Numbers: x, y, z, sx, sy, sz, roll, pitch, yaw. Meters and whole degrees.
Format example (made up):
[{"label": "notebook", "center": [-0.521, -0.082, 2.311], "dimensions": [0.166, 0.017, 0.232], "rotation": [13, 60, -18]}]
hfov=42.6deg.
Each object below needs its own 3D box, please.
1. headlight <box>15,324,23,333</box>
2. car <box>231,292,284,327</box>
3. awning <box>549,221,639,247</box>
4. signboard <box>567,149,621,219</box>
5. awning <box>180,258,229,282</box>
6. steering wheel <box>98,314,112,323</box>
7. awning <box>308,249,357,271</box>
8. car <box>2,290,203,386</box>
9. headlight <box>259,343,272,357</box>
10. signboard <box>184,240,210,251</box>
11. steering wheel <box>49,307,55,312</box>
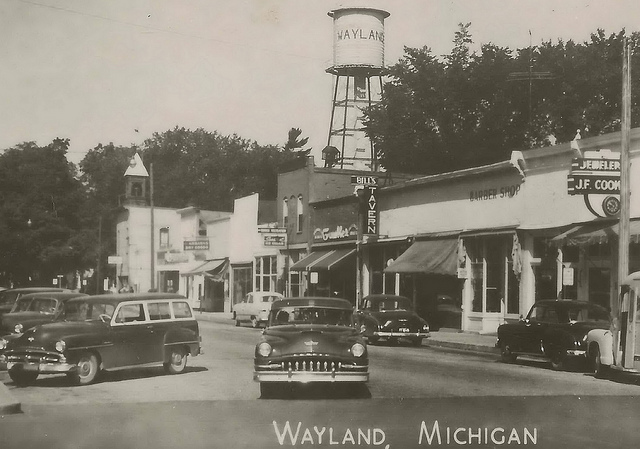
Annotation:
[{"label": "headlight", "center": [-9.324, 3.167, 25.250], "dimensions": [0.295, 0.214, 0.149], "rotation": [2, 3, 21]}, {"label": "car", "center": [-3.389, 4.560, 44.370], "dimensions": [2.085, 1.850, 4.535], "rotation": [1, 0, -23]}, {"label": "awning", "center": [10.157, 0.277, 30.605], "dimensions": [1.670, 0.779, 3.478], "rotation": [-2, -5, -44]}, {"label": "signboard", "center": [10.349, -1.561, 30.904], "dimensions": [1.873, 2.657, 1.099], "rotation": [1, 3, 7]}, {"label": "awning", "center": [-8.971, 3.501, 66.288], "dimensions": [2.082, 1.840, 3.782], "rotation": [-1, 3, -32]}, {"label": "steering wheel", "center": [-5.816, 2.506, 22.100], "dimensions": [0.412, 0.178, 0.178], "rotation": [1, 3, 6]}, {"label": "awning", "center": [0.665, 2.041, 49.015], "dimensions": [1.854, 1.348, 2.968], "rotation": [-1, 3, -23]}, {"label": "car", "center": [-5.971, 3.001, 22.536], "dimensions": [2.405, 1.799, 4.120], "rotation": [-7, -10, 42]}, {"label": "headlight", "center": [-1.261, 2.888, 18.986], "dimensions": [0.294, 0.276, 0.164], "rotation": [2, 3, 22]}, {"label": "signboard", "center": [-10.170, 1.645, 67.825], "dimensions": [0.699, 0.809, 2.244], "rotation": [3, 4, 42]}, {"label": "steering wheel", "center": [-8.880, 2.767, 27.127], "dimensions": [0.198, 0.114, 0.114], "rotation": [1, 3, 10]}]
